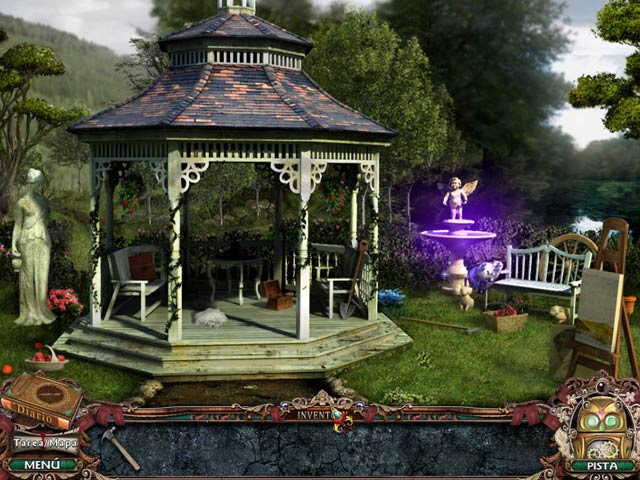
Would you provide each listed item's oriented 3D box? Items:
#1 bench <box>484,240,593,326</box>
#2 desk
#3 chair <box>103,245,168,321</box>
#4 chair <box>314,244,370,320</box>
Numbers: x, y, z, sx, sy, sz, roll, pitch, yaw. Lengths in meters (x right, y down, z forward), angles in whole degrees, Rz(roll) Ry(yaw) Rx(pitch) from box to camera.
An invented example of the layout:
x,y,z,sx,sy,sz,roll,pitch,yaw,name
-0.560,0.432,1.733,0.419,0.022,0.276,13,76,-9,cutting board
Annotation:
x,y,z,sx,sy,sz,roll,pitch,yaw,name
5.032,0.953,17.700,1.038,1.536,2.273,-11,12,-39,bench
-1.926,0.952,17.578,1.115,0.843,1.105,-7,-4,-27,desk
-4.026,0.956,16.838,0.887,1.256,2.399,1,4,-2,chair
0.421,0.820,17.272,0.870,1.699,2.376,1,3,-10,chair
